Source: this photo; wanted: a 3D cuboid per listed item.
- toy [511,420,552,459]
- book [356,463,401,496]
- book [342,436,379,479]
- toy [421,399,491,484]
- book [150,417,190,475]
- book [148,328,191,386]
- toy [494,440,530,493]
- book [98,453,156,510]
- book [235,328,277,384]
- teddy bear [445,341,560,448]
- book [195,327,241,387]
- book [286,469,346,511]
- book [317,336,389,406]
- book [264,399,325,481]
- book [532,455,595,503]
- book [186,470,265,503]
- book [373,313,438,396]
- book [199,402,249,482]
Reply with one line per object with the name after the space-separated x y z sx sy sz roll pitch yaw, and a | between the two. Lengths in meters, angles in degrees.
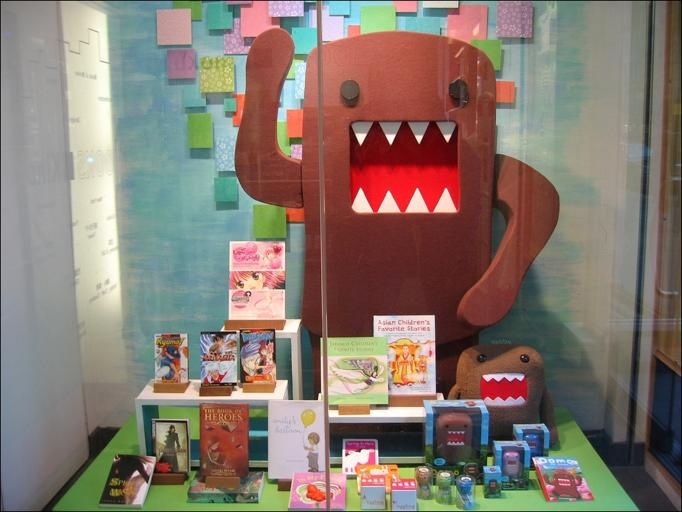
0.755 0.737 2.540 0.119 0.115 0.097 -5 15 3 | toy
0.145 0.854 2.455 0.171 0.073 0.123 -2 9 -2 | book
0.070 0.793 2.498 0.150 0.155 0.012 1 -15 -4 | book
0.461 0.763 2.534 0.227 0.309 0.170 -4 -24 21 | toy
-0.665 0.753 2.506 0.198 0.269 0.031 -1 -4 0 | book
-0.680 0.391 2.526 0.219 0.313 0.034 0 10 -2 | book
0.673 0.852 2.482 0.135 0.110 0.185 -6 38 20 | toy
-0.818 0.865 2.462 0.163 0.159 0.150 1 9 17 | book
-0.342 0.399 2.534 0.209 0.296 0.030 -1 3 -4 | book
0.647 0.587 2.611 0.462 0.447 0.262 0 -4 1 | teddy bear
-0.479 0.392 2.527 0.224 0.322 0.027 -1 -1 -2 | book
-0.086 0.889 2.424 0.222 0.114 0.102 -3 9 -5 | book
0.054 0.451 2.505 0.256 0.266 0.021 -2 4 2 | book
-0.173 0.718 2.468 0.291 0.395 0.039 -1 -3 0 | book
0.849 0.852 2.448 0.198 0.131 0.120 -3 9 -6 | book
-0.440 0.887 2.449 0.287 0.091 0.073 -2 9 -1 | book
0.242 0.378 2.516 0.310 0.372 0.025 -1 -1 -2 | book
-0.453 0.717 2.482 0.182 0.275 0.091 -2 9 -3 | book
